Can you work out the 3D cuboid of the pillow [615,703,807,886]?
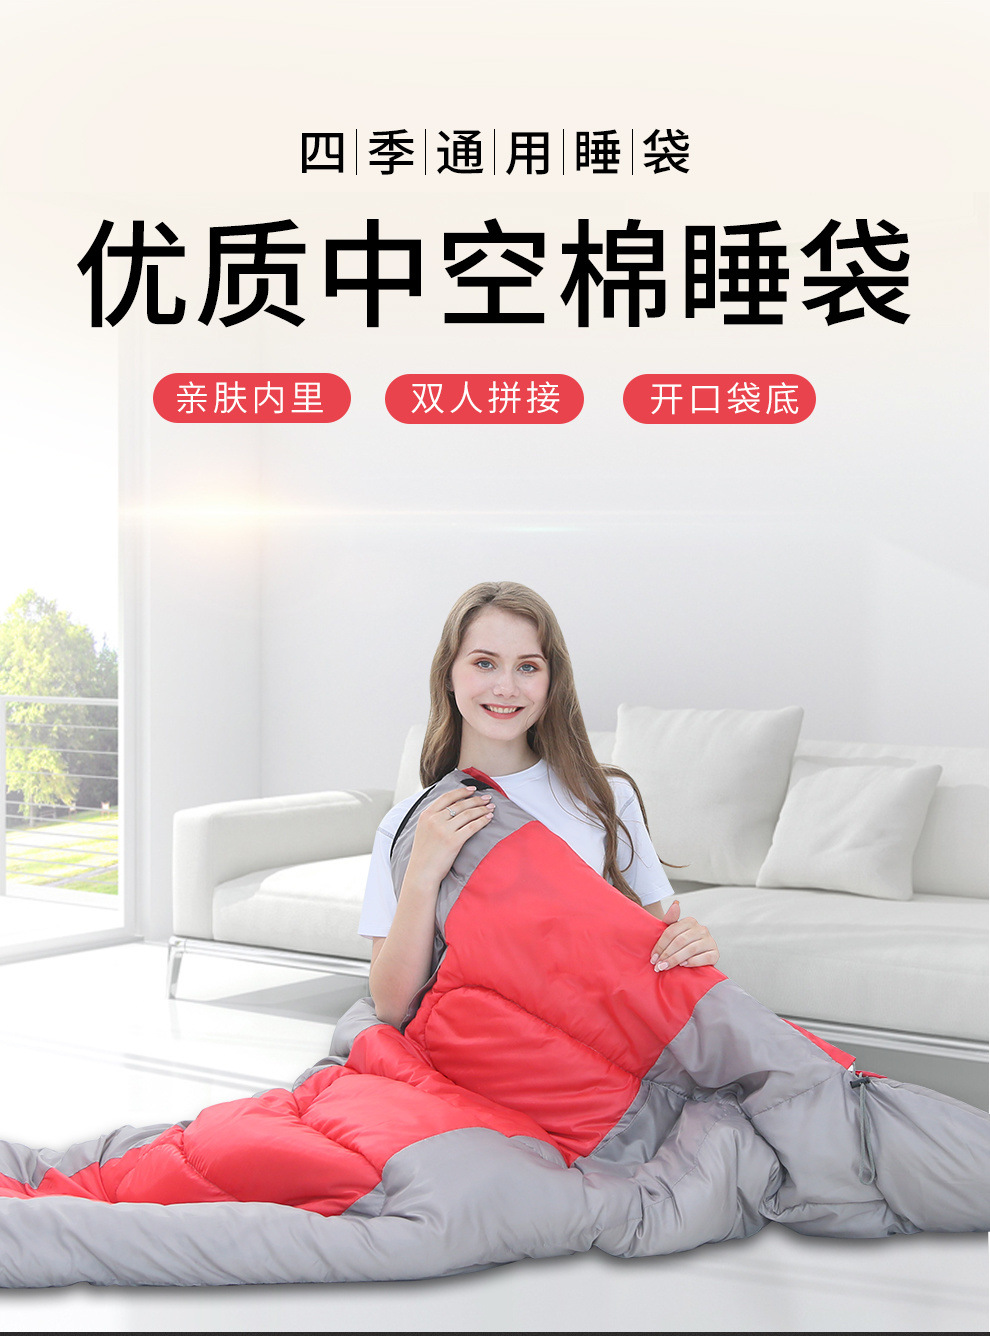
[{"bbox_3d":[0.560,0.378,3.296,0.239,0.507,0.618,26,-12,-33],"label":"pillow"}]

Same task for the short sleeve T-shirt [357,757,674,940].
[{"bbox_3d":[0.052,0.331,2.141,0.557,0.378,0.237,-1,-39,-9],"label":"short sleeve T-shirt"}]

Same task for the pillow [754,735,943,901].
[{"bbox_3d":[0.864,0.373,2.898,0.109,0.329,0.372,39,-24,-32],"label":"pillow"}]
